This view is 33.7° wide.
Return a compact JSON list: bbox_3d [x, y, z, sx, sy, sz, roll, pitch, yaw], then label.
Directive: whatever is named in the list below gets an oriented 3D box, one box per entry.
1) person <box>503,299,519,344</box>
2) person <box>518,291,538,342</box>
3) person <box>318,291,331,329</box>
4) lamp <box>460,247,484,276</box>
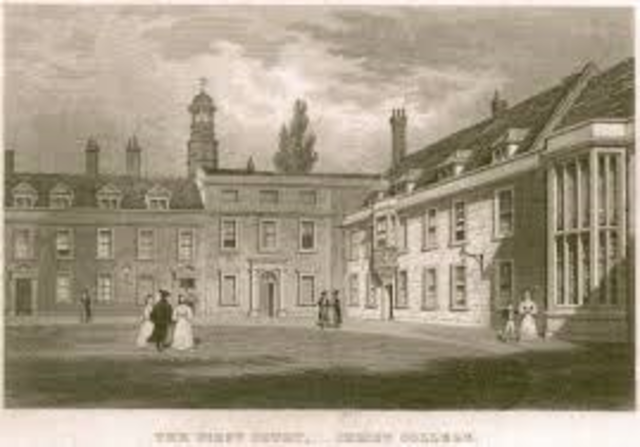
[{"bbox_3d":[5.845,3.039,32.436,0.446,1.313,0.819,0,-8,8],"label":"person"},{"bbox_3d":[6.298,2.823,32.007,0.580,1.482,0.383,0,-8,11],"label":"person"},{"bbox_3d":[0.149,3.021,36.519,0.401,1.257,1.029,2,-8,-6],"label":"person"},{"bbox_3d":[4.856,1.222,34.334,0.462,1.024,0.948,6,-9,-33],"label":"lamp"}]
